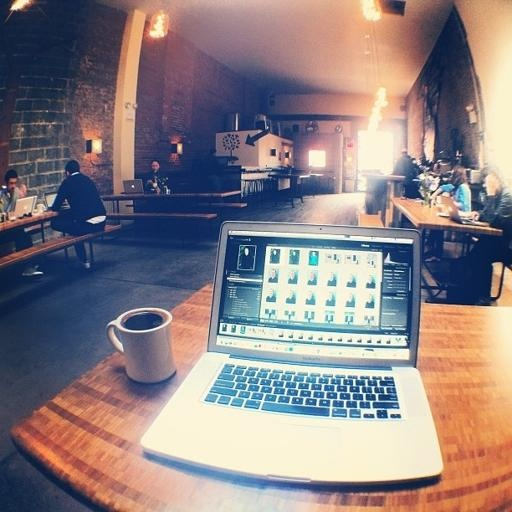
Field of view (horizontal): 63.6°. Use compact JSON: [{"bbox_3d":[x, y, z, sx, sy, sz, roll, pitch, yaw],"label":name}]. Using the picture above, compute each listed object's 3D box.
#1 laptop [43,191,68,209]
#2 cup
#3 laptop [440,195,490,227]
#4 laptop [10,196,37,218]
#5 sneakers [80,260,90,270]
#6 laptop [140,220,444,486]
[{"bbox_3d":[-2.274,-0.628,4.736,0.197,0.211,0.250,2,18,6],"label":"laptop"},{"bbox_3d":[-0.213,0.168,0.865,0.158,0.145,0.108,8,22,35],"label":"cup"},{"bbox_3d":[1.579,-0.327,3.185,0.302,0.194,0.310,-1,13,-14],"label":"laptop"},{"bbox_3d":[-2.372,-0.494,4.185,0.166,0.164,0.234,32,25,9],"label":"laptop"},{"bbox_3d":[-1.896,0.105,4.608,0.086,0.056,0.111,0,-12,-3],"label":"sneakers"},{"bbox_3d":[0.084,0.045,0.697,0.415,0.275,0.436,4,16,10],"label":"laptop"}]
